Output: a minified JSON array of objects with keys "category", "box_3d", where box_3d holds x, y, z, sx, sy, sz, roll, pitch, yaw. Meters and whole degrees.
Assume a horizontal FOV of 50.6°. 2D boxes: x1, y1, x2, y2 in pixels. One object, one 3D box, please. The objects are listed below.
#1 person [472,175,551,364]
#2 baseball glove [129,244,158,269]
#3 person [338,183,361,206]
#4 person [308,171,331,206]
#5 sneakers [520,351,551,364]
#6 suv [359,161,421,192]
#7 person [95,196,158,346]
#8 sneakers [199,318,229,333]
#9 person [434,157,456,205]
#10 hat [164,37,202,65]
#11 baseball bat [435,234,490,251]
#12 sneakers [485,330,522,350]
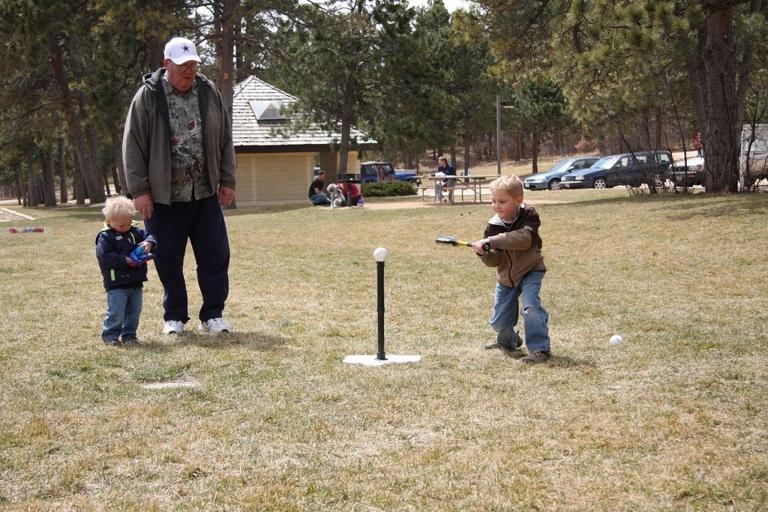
[{"category":"person","box_3d":[1.343,0.111,8.379,0.718,1.872,0.664,-1,6,11]},{"category":"baseball glove","box_3d":[-2.548,-0.004,8.558,0.217,0.096,0.217,-30,-17,30]},{"category":"person","box_3d":[-1.042,-1.963,25.579,0.738,0.724,0.547,-3,7,-10]},{"category":"person","box_3d":[-2.077,-2.194,26.406,0.645,1.112,1.467,-3,7,-4]},{"category":"sneakers","box_3d":[1.543,1.032,8.225,0.326,0.145,0.113,2,1,-8]},{"category":"suv","box_3d":[0.233,-4.224,41.945,3.175,1.566,2.097,-1,3,-35]},{"category":"person","box_3d":[-2.744,0.139,8.630,0.544,1.504,0.362,-4,7,-19]},{"category":"sneakers","box_3d":[-1.860,0.768,9.019,0.283,0.126,0.147,-2,1,42]},{"category":"person","box_3d":[2.075,-2.524,27.156,0.829,1.628,0.843,-2,-3,-10]},{"category":"hat","box_3d":[-2.139,-2.164,8.603,0.318,0.290,0.220,-5,7,-20]},{"category":"baseball bat","box_3d":[0.819,-0.138,8.122,0.656,0.124,0.199,11,2,4]},{"category":"sneakers","box_3d":[1.222,0.895,8.645,0.473,0.226,0.158,1,1,-22]}]
